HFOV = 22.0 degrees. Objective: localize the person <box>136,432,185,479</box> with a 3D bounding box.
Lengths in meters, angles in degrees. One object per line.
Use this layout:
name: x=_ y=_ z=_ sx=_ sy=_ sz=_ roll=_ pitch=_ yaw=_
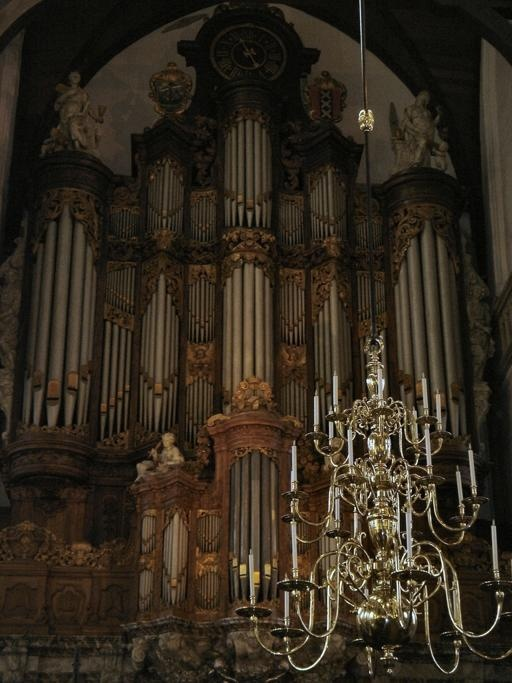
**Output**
person: x=-1.018 y=1.285 z=14.224 sx=0.494 sy=0.645 sz=0.814 roll=1 pitch=-22 yaw=-3
